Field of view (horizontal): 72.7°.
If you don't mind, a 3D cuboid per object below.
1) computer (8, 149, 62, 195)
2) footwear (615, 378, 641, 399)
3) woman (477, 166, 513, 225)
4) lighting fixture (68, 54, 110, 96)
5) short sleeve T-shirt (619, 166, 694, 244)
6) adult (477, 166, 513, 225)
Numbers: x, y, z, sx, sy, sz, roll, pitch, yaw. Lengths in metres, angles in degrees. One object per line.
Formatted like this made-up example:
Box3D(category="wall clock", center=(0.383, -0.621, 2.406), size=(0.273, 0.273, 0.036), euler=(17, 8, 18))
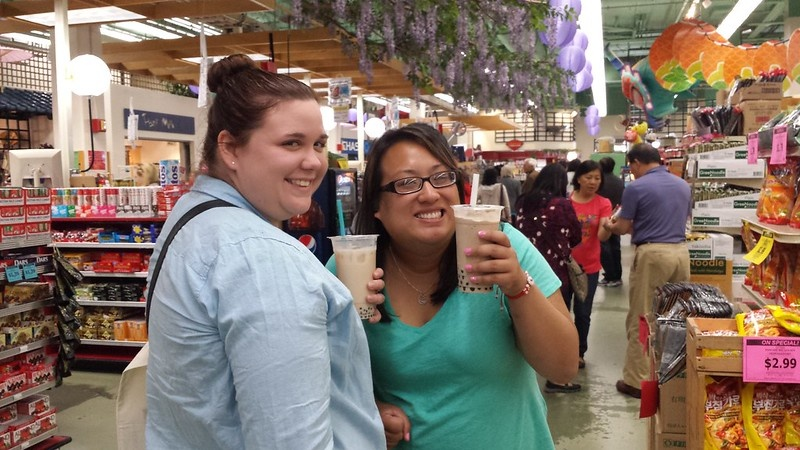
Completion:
Box3D(category="computer", center=(-4.116, -0.621, 6.103), size=(0.703, 0.643, 0.267), euler=(-2, 2, -32))
Box3D(category="footwear", center=(2.463, 1.776, 5.911), size=(0.093, 0.173, 0.254), euler=(-4, 19, -22))
Box3D(category="woman", center=(1.662, -0.418, 9.696), size=(0.612, 1.293, 0.424), euler=(10, 41, 29))
Box3D(category="lighting fixture", center=(-3.942, -1.919, 6.872), size=(0.440, 0.471, 0.231), euler=(-3, 5, -18))
Box3D(category="short sleeve T-shirt", center=(2.660, -0.207, 5.707), size=(0.646, 0.808, 0.317), euler=(1, 6, 21))
Box3D(category="adult", center=(1.657, -0.415, 9.705), size=(0.621, 1.300, 0.415), euler=(14, 43, 32))
